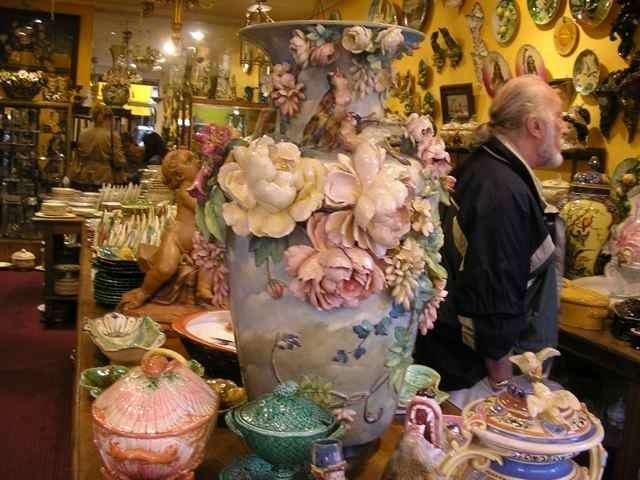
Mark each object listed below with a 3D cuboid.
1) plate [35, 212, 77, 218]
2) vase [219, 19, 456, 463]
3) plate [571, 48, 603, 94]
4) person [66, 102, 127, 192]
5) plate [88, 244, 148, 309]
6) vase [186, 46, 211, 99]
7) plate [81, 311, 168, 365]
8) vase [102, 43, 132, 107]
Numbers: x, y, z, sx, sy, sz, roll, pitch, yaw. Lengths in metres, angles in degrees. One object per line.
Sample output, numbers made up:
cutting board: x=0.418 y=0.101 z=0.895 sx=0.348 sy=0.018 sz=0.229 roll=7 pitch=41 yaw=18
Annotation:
plate: x=-2.333 y=-0.220 z=4.689 sx=0.341 sy=0.043 sz=0.218 roll=1 pitch=7 yaw=-29
vase: x=0.021 y=0.000 z=1.069 sx=0.460 sy=0.876 sz=0.323 roll=4 pitch=6 yaw=1
plate: x=1.957 y=-1.224 z=3.871 sx=0.060 sy=0.330 sz=0.264 roll=3 pitch=6 yaw=-13
person: x=-3.141 y=-1.178 z=7.432 sx=0.789 sy=1.340 sz=0.707 roll=6 pitch=22 yaw=-20
plate: x=-0.789 y=0.135 z=2.032 sx=0.206 sy=0.179 sz=0.205 roll=0 pitch=4 yaw=-32
vase: x=-1.547 y=-2.166 z=6.830 sx=0.262 sy=0.648 sz=0.386 roll=3 pitch=6 yaw=-12
plate: x=-0.563 y=0.269 z=1.493 sx=0.219 sy=0.083 sz=0.219 roll=18 pitch=11 yaw=2
vase: x=-3.415 y=-2.762 z=8.897 sx=0.435 sy=1.098 sz=0.598 roll=2 pitch=7 yaw=-22
